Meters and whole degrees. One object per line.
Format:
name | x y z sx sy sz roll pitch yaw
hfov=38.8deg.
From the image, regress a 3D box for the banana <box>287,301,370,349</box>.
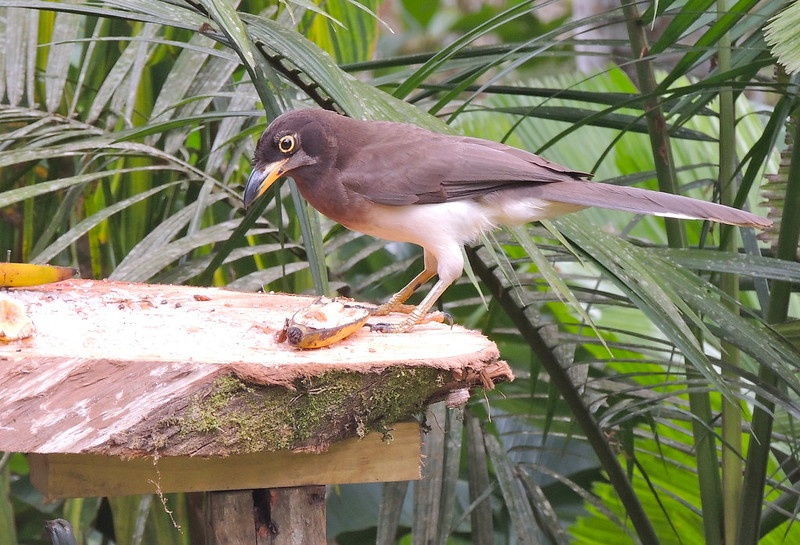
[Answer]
banana | -0.255 0.178 3.774 0.170 0.129 0.322 4 8 31
